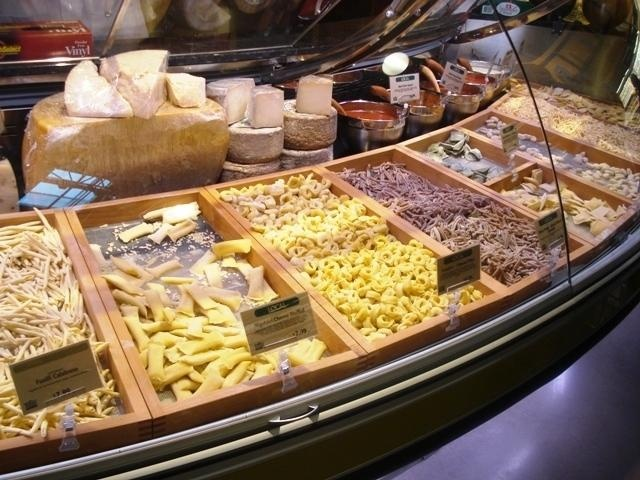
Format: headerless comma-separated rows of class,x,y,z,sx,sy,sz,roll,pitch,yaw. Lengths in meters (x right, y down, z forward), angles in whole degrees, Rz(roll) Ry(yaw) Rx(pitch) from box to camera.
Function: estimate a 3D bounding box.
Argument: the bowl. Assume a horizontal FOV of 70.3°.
bowl,0.514,-0.637,2.291,0.766,0.130,0.405,-16,28,-9
